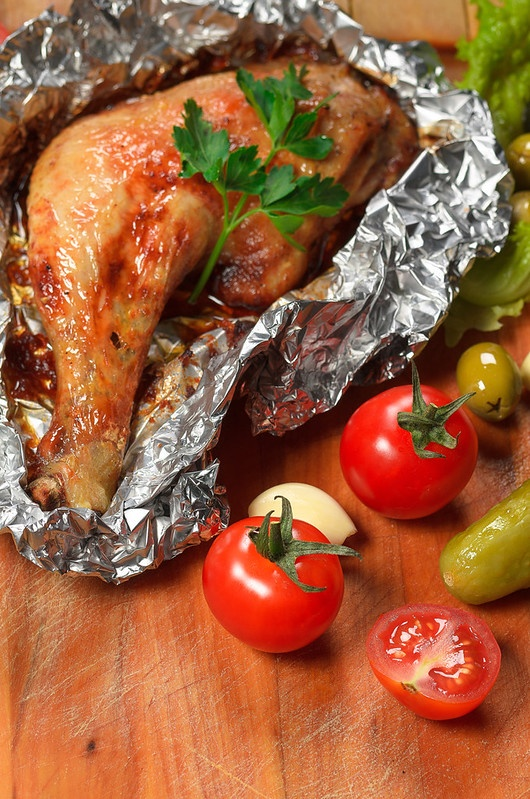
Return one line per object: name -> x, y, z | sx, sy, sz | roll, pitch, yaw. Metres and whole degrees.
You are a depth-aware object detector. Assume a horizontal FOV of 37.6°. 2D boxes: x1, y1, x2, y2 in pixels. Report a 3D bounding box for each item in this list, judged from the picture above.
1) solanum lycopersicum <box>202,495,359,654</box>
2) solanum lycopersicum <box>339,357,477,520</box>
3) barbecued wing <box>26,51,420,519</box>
solanum lycopersicum -> 0.017, 0.339, 1.513 | 0.279, 0.280, 0.280 | -23, 44, -23
solanum lycopersicum -> 0.282, 0.070, 1.587 | 0.272, 0.348, 0.228 | 9, 51, 23
barbecued wing -> -0.251, -0.327, 1.790 | 0.712, 0.272, 1.137 | 25, 71, -8
